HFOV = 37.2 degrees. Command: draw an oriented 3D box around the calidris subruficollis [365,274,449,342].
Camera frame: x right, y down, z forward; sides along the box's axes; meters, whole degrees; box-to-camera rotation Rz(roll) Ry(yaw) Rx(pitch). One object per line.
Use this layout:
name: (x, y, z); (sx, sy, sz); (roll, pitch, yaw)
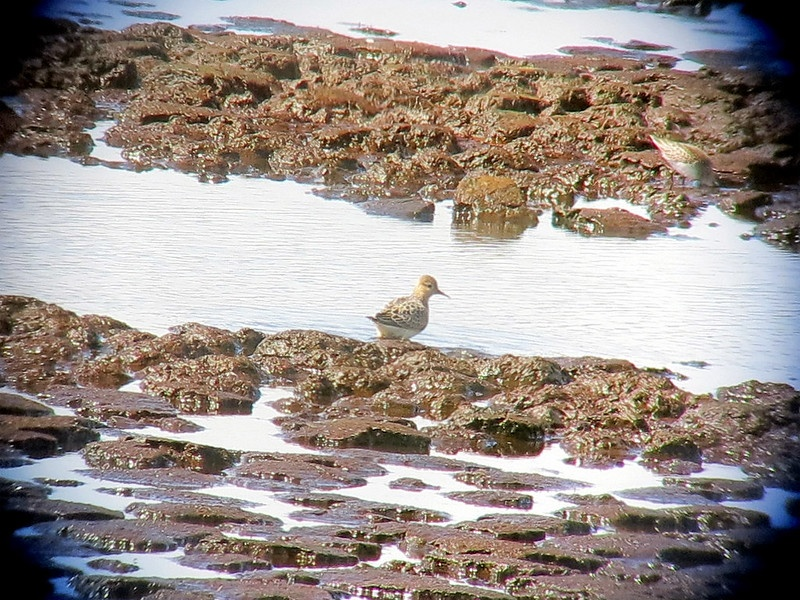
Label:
calidris subruficollis: (-0.050, 0.114, 16.546); (0.730, 1.545, 0.790); (29, 113, 29)
